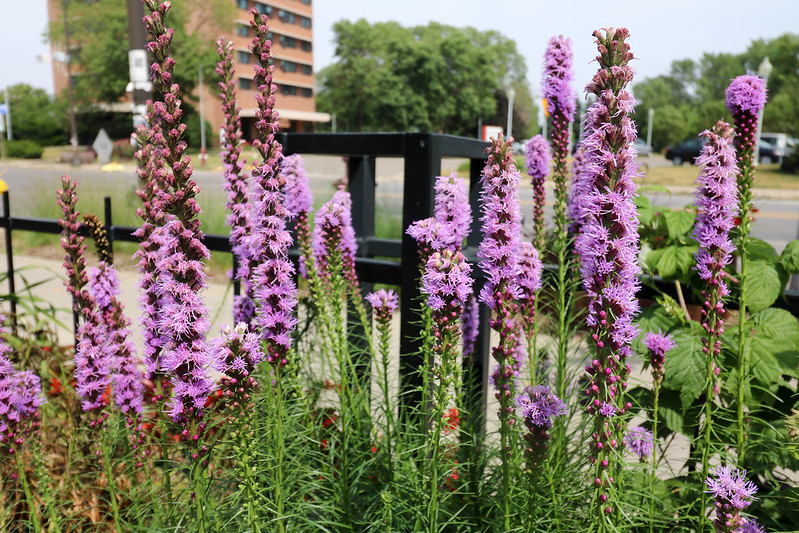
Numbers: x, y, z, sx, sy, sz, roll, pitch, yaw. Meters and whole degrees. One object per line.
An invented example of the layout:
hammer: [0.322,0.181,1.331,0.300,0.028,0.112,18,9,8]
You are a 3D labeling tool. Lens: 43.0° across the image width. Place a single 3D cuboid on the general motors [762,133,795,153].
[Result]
general motors: [14.246,-4.593,38.067,0.747,0.772,1.359,6,23,24]
